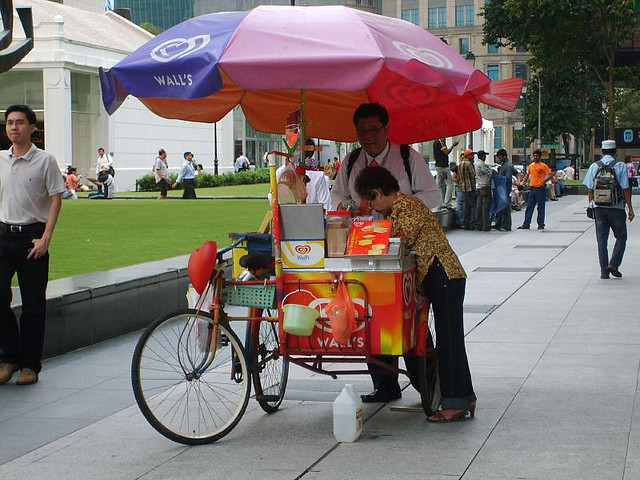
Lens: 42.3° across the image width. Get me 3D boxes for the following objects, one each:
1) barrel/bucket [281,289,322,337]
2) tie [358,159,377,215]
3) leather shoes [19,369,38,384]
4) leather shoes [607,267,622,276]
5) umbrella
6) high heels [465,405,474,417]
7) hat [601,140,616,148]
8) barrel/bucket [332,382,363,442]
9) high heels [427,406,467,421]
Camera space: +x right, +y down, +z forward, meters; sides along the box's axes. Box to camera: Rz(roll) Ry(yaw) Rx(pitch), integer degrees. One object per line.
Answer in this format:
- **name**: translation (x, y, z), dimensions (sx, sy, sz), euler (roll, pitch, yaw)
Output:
- **barrel/bucket**: translation (-0.153, 0.552, 6.288), dimensions (0.298, 0.380, 0.310), euler (7, -26, 4)
- **tie**: translation (0.420, -0.449, 7.059), dimensions (0.094, 0.418, 0.217), euler (-5, 8, -36)
- **leather shoes**: translation (-2.777, 1.271, 7.859), dimensions (0.194, 0.143, 0.196), euler (-4, 7, -22)
- **leather shoes**: translation (4.875, 0.509, 13.617), dimensions (0.209, 0.172, 0.308), euler (1, 7, 22)
- **umbrella**: translation (-0.171, -1.372, 6.977), dimensions (3.236, 1.175, 2.712), euler (-5, 8, -24)
- **high heels**: translation (1.209, 1.359, 6.671), dimensions (0.070, 0.102, 0.242), euler (-4, -12, 4)
- **hat**: translation (4.816, -1.609, 13.821), dimensions (0.179, 0.123, 0.186), euler (2, 6, 36)
- **barrel/bucket**: translation (0.212, 1.287, 6.292), dimensions (0.223, 0.414, 0.253), euler (-2, 6, 1)
- **high heels**: translation (1.022, 1.372, 6.608), dimensions (0.294, 0.086, 0.122), euler (2, -4, -13)
